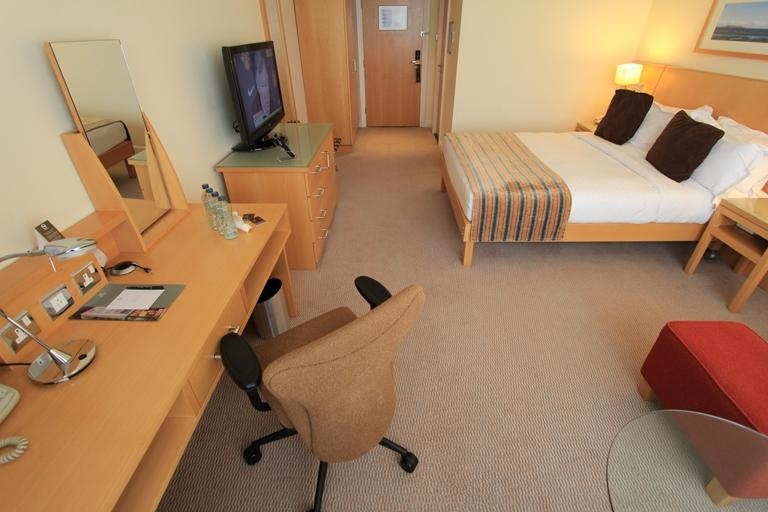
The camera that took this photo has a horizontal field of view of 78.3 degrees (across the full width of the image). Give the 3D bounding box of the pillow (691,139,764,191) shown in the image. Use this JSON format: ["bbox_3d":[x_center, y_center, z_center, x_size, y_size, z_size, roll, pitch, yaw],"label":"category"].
[{"bbox_3d":[2.666,-0.683,3.655,0.116,0.374,0.386,10,30,-24],"label":"pillow"}]

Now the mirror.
[{"bbox_3d":[-1.530,-0.632,2.571,0.212,1.258,0.559,9,36,3],"label":"mirror"}]

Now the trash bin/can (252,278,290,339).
[{"bbox_3d":[-0.771,0.353,3.165,0.232,0.366,0.229,-26,44,-28],"label":"trash bin/can"}]

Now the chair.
[{"bbox_3d":[-0.358,0.809,2.545,0.785,0.969,0.720,-20,58,-24],"label":"chair"}]

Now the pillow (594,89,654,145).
[{"bbox_3d":[2.332,-1.370,4.583,0.180,0.556,0.583,10,26,-5],"label":"pillow"}]

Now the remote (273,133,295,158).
[{"bbox_3d":[-0.815,-0.897,3.780,0.135,0.056,0.399,-1,33,-12],"label":"remote"}]

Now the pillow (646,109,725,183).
[{"bbox_3d":[2.432,-0.878,3.836,0.183,0.544,0.574,14,27,-26],"label":"pillow"}]

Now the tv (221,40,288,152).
[{"bbox_3d":[-1.028,-1.283,3.809,0.456,0.791,1.035,5,28,3],"label":"tv"}]
